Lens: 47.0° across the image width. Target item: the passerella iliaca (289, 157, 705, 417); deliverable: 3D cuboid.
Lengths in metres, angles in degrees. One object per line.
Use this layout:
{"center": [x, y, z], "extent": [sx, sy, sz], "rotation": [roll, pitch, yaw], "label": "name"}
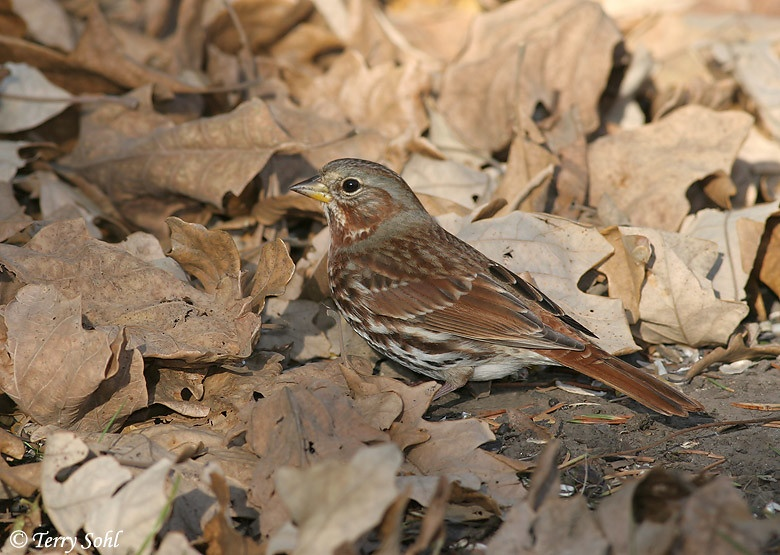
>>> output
{"center": [0.386, 0.200, 6.214], "extent": [2.735, 0.844, 1.034], "rotation": [39, 76, 25], "label": "passerella iliaca"}
